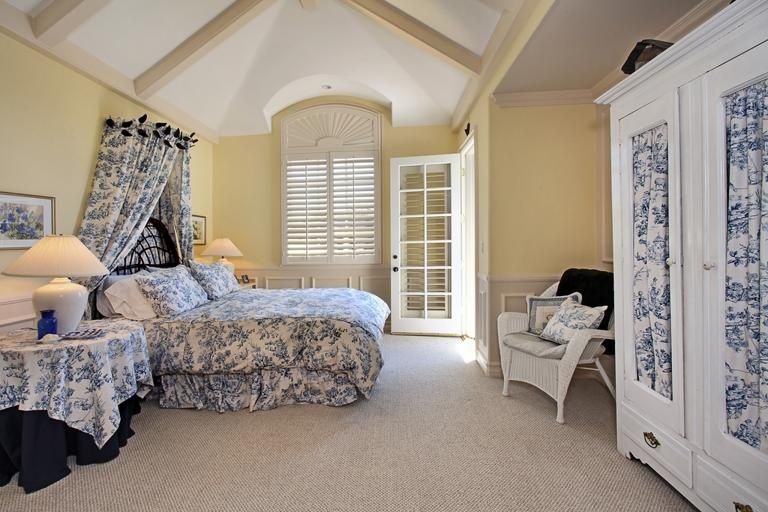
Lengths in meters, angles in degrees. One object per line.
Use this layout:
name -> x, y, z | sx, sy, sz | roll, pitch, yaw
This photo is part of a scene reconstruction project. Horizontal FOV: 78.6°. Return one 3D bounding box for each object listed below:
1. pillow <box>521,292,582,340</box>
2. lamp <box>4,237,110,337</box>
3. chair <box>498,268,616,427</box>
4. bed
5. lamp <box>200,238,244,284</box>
pillow -> 1.487, 0.530, 4.416 | 0.121, 0.394, 0.403 | 29, -20, -31
lamp -> -2.465, 0.184, 3.904 | 0.753, 0.836, 0.747 | 3, 4, -5
chair -> 1.634, 0.756, 4.348 | 1.073, 1.076, 1.126 | -1, 6, 8
bed -> -1.172, 0.493, 4.832 | 2.217, 1.510, 1.659 | -1, 3, 0
lamp -> -2.190, 0.053, 6.262 | 0.507, 0.529, 0.513 | 0, -4, 11
